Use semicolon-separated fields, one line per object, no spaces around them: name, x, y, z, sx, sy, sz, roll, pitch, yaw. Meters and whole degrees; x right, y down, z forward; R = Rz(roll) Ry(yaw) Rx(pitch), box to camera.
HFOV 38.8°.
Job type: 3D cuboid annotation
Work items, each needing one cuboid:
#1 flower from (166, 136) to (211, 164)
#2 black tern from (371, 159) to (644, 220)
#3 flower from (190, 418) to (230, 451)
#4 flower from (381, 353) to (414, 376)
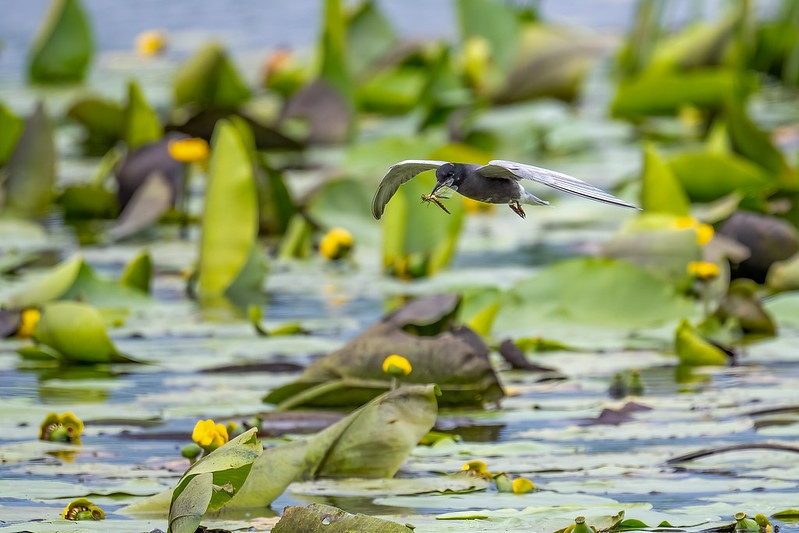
flower;-0.262;-0.141;1.419;0.053;0.042;0.042;-9;34;-24
black tern;0.119;-0.082;1.278;0.118;0.035;0.160;-5;2;43
flower;-0.166;0.146;0.982;0.029;0.016;0.030;-5;14;-31
flower;-0.004;0.089;1.031;0.024;0.014;0.024;4;2;-43
